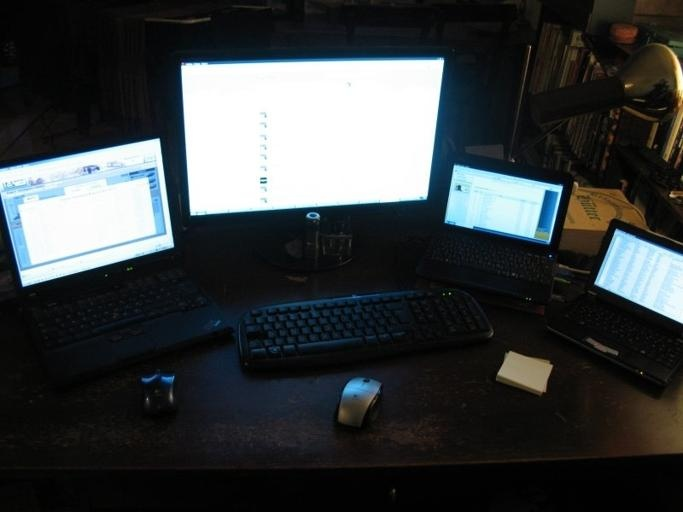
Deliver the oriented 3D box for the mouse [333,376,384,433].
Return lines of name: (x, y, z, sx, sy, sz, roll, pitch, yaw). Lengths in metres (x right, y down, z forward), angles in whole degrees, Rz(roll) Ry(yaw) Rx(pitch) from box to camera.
mouse: (0.035, 0.320, 1.276, 0.086, 0.067, 0.102, 11, 25, 21)

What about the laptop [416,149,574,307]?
laptop: (0.446, -0.100, 1.775, 0.490, 0.403, 0.354, 16, 25, 11)

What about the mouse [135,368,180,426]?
mouse: (-0.404, 0.304, 1.281, 0.076, 0.060, 0.098, -8, 25, -21)
